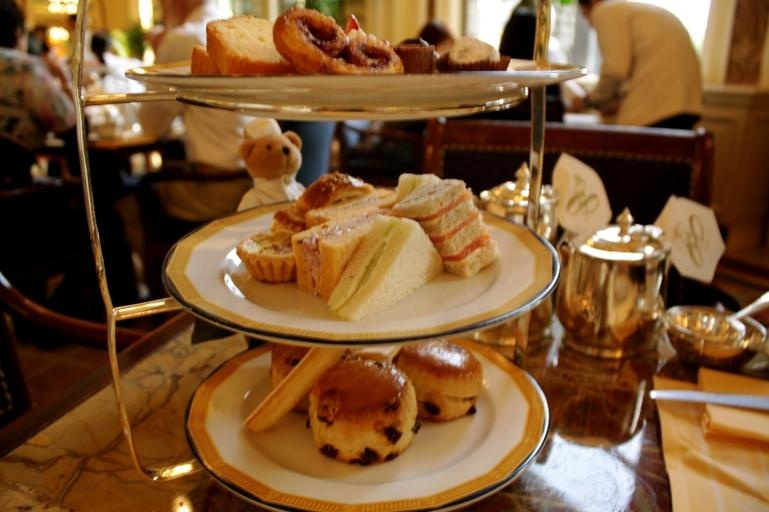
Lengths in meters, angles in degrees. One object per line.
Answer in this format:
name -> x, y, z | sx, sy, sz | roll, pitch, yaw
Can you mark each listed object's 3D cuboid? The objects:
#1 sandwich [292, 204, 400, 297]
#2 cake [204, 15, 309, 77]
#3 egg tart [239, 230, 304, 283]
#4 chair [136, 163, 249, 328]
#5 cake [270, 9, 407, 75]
sandwich -> -0.081, -0.005, 1.076 | 0.111, 0.115, 0.225 | 17, 21, 18
cake -> -0.194, -0.301, 0.990 | 0.130, 0.126, 0.193 | -12, 21, -43
egg tart -> -0.189, -0.009, 1.038 | 0.106, 0.076, 0.094 | 7, 16, 41
chair -> -0.841, -0.195, 2.813 | 0.414, 0.880, 0.419 | -17, 22, -42
cake -> -0.061, -0.296, 0.906 | 0.150, 0.052, 0.118 | 6, 37, -38
